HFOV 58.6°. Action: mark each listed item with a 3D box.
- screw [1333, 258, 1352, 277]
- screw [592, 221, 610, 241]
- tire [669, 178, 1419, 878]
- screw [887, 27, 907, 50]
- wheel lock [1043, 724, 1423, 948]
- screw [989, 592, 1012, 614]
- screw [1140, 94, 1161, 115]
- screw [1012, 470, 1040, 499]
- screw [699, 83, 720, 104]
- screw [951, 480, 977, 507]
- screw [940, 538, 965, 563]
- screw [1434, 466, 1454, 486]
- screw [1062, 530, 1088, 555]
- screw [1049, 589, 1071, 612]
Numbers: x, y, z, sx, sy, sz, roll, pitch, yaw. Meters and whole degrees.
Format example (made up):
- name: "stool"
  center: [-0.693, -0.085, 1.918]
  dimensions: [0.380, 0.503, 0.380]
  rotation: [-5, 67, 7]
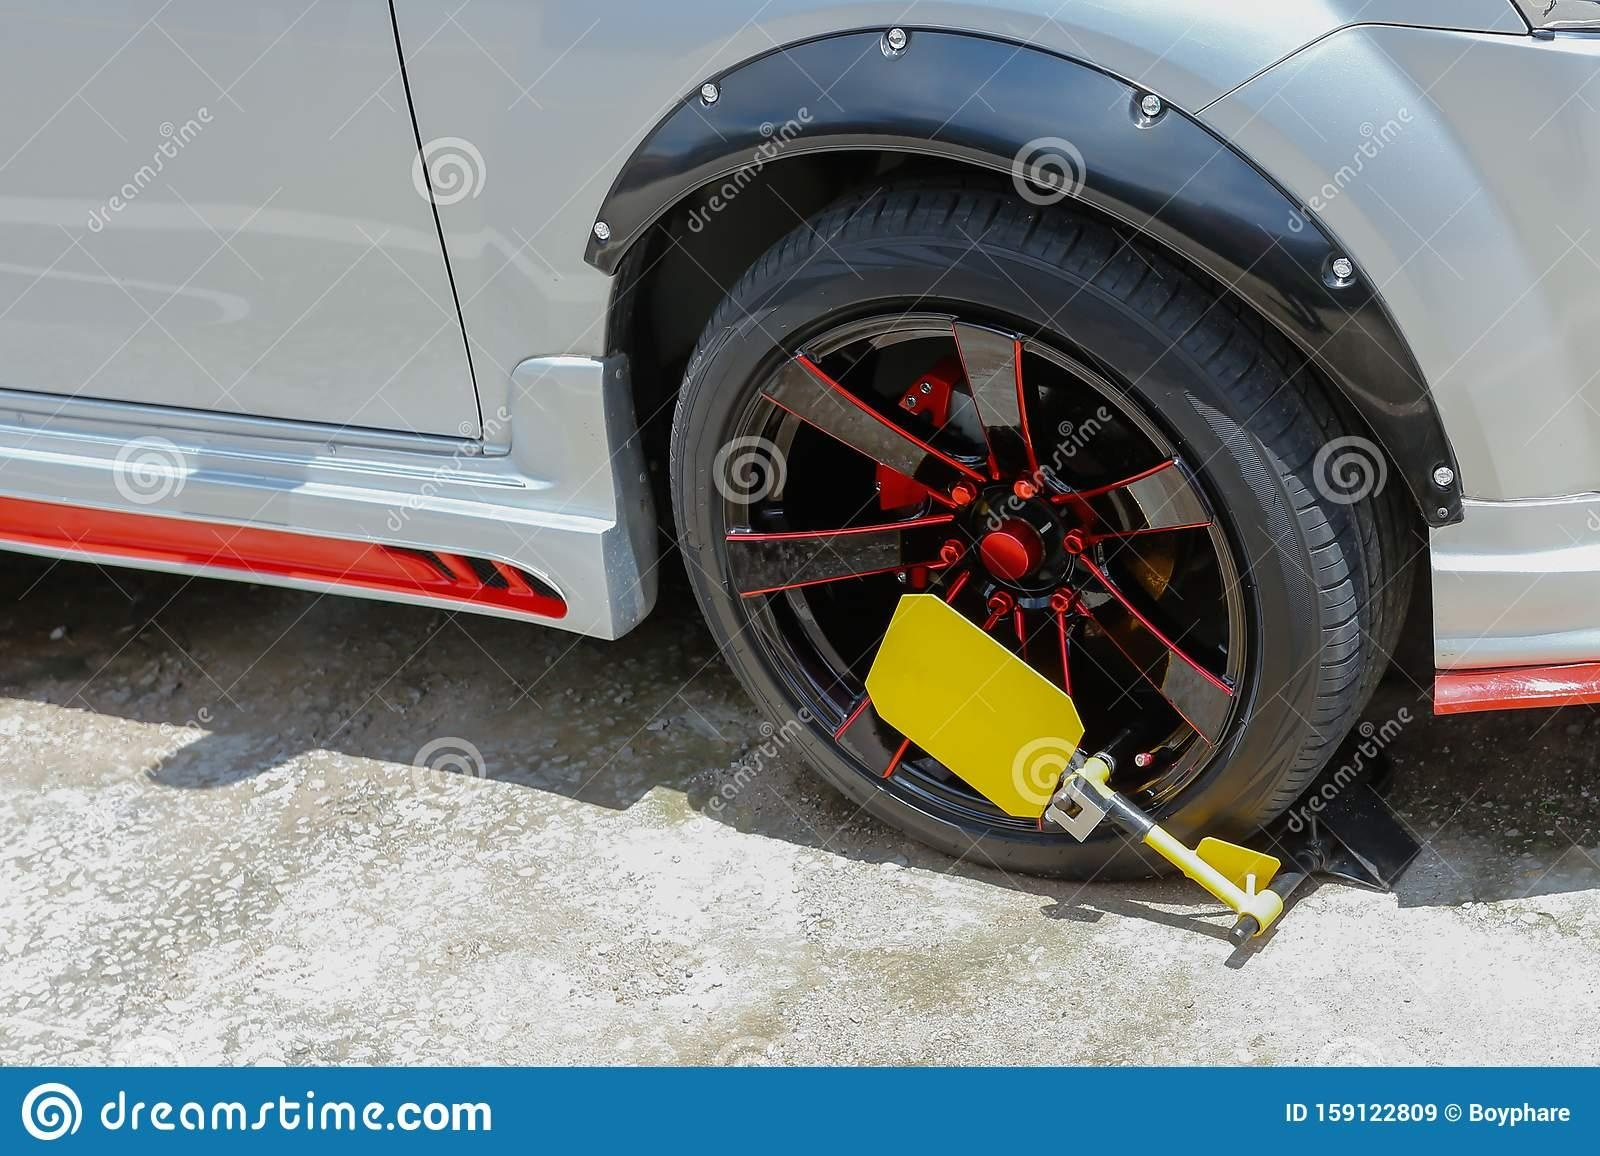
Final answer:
- name: "screw"
  center: [0.755, -0.430, 1.968]
  dimensions: [0.026, 0.013, 0.028]
  rotation: [-5, 78, 7]
- name: "screw"
  center: [-0.311, -0.547, 2.231]
  dimensions: [0.033, 0.019, 0.026]
  rotation: [14, 81, 10]
- name: "tire"
  center: [0.408, -0.103, 2.222]
  dimensions: [1.077, 0.410, 1.082]
  rotation: [2, 112, 29]
- name: "screw"
  center: [0.140, -0.768, 2.020]
  dimensions: [0.029, 0.009, 0.029]
  rotation: [30, 101, 10]
- name: "wheel lock"
  center: [0.806, 0.390, 2.515]
  dimensions: [0.478, 0.145, 0.362]
  rotation: [31, 67, 20]
- name: "screw"
  center: [0.331, 0.039, 2.319]
  dimensions: [0.027, 0.021, 0.024]
  rotation: [6, 35, 42]
- name: "screw"
  center: [0.487, -0.657, 1.962]
  dimensions: [0.023, 0.010, 0.023]
  rotation: [14, 114, 17]
- name: "screw"
  center: [0.360, -0.147, 2.234]
  dimensions: [0.042, 0.035, 0.039]
  rotation: [7, 80, 9]
- name: "screw"
  center: [-0.134, -0.721, 2.112]
  dimensions: [0.030, 0.011, 0.030]
  rotation: [5, 101, 23]
- name: "screw"
  center: [0.264, -0.136, 2.279]
  dimensions: [0.031, 0.043, 0.040]
  rotation: [12, 108, 10]
- name: "screw"
  center: [0.250, -0.043, 2.312]
  dimensions: [0.038, 0.038, 0.034]
  rotation: [-16, 98, 38]
- name: "screw"
  center: [0.930, -0.148, 2.042]
  dimensions: [0.027, 0.008, 0.027]
  rotation: [22, 98, 11]
- name: "screw"
  center: [0.439, -0.059, 2.247]
  dimensions: [0.024, 0.020, 0.024]
  rotation: [40, 118, 3]
- name: "screw"
  center: [0.423, 0.038, 2.280]
  dimensions: [0.034, 0.041, 0.033]
  rotation: [-13, 100, 25]
